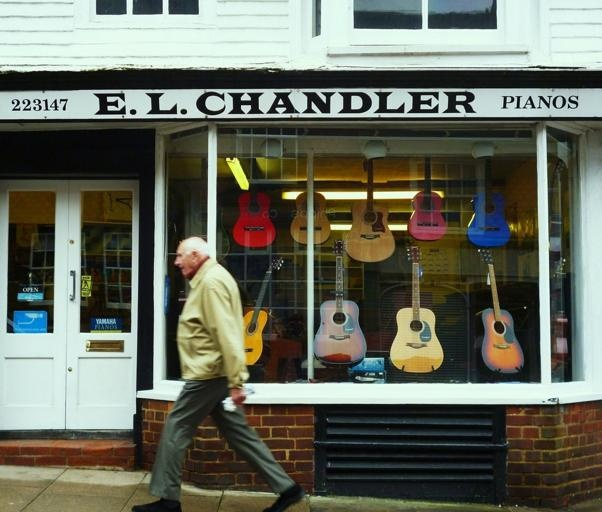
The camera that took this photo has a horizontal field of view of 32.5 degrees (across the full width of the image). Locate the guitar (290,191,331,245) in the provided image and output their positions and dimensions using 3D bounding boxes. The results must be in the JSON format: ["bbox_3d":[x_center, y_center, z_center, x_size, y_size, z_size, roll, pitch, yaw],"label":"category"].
[{"bbox_3d":[0.082,-0.343,9.683,0.380,0.492,0.129,-2,1,-2],"label":"guitar"}]

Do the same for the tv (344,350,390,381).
[{"bbox_3d":[0.615,1.020,9.507,0.374,0.362,0.083,2,-31,1],"label":"tv"}]

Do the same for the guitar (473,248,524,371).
[{"bbox_3d":[1.849,0.510,9.514,0.361,1.116,0.197,-2,-2,8],"label":"guitar"}]
